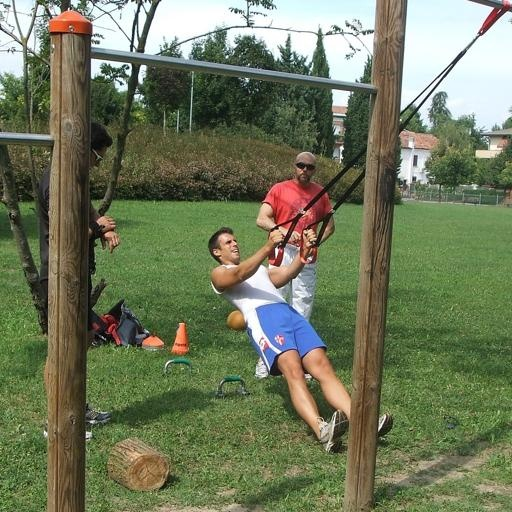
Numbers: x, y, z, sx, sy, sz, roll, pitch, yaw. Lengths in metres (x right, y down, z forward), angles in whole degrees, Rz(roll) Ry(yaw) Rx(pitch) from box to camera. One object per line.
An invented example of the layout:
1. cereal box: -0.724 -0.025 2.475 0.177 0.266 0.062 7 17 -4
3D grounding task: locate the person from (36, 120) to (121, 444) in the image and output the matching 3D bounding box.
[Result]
1. person: -1.334 0.179 6.586 0.631 2.317 1.583 3 8 -9

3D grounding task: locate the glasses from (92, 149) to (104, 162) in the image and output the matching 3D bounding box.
1. glasses: -1.138 -0.717 6.440 0.035 0.104 0.084 -19 -16 42

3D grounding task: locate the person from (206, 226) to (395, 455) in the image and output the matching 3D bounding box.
1. person: 0.243 0.558 6.993 0.692 1.557 1.791 -1 10 -36
